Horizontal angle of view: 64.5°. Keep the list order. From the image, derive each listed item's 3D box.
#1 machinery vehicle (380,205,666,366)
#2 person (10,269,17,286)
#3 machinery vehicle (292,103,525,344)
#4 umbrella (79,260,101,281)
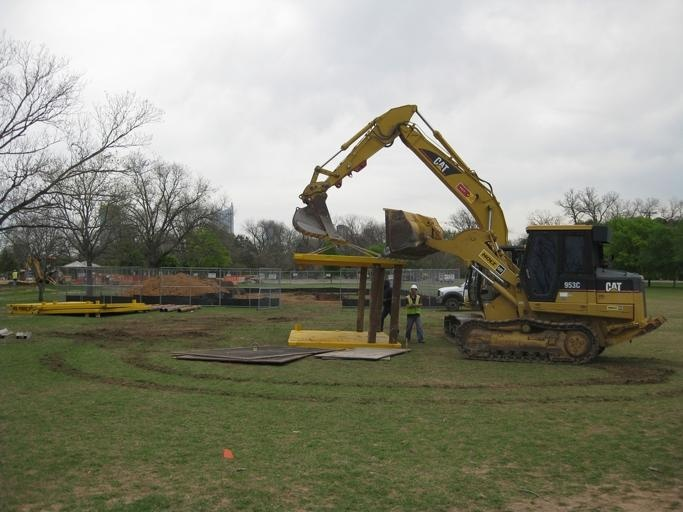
[{"bbox_3d":[5.089,0.953,16.624,9.721,4.403,3.698,2,-2,21],"label":"machinery vehicle"},{"bbox_3d":[-38.201,2.628,63.273,0.370,1.555,1.300,-1,3,-23],"label":"person"},{"bbox_3d":[2.522,-1.464,16.445,8.428,5.516,2.168,8,14,28],"label":"machinery vehicle"},{"bbox_3d":[-17.271,1.260,37.593,1.074,1.095,3.411,-1,2,-25],"label":"umbrella"}]
